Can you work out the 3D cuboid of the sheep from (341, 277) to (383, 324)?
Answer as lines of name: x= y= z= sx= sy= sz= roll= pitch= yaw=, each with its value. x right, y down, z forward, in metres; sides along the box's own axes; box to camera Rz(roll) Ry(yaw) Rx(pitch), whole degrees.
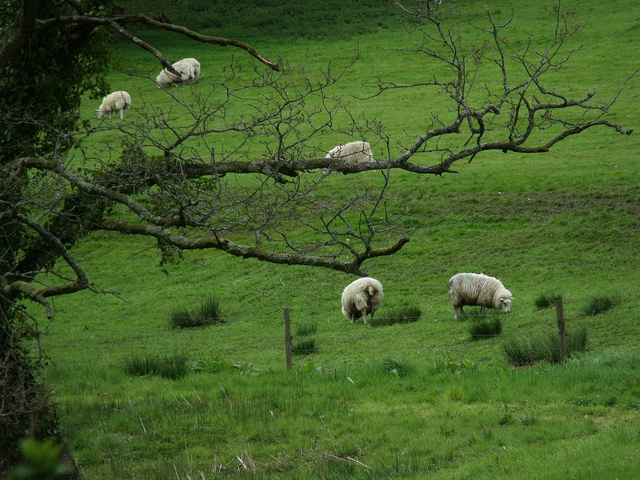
sheep: x=1.578 y=2.351 z=55.622 sx=1.257 sy=1.615 sz=2.694 roll=0 pitch=-10 yaw=-20

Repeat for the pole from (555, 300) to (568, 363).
pole: x=8.064 y=3.038 z=48.834 sx=0.253 sy=1.500 sz=0.434 roll=-5 pitch=-3 yaw=8

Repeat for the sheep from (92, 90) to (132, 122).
sheep: x=-10.551 y=-6.530 z=72.591 sx=2.300 sy=1.386 sz=0.716 roll=-13 pitch=2 yaw=36
